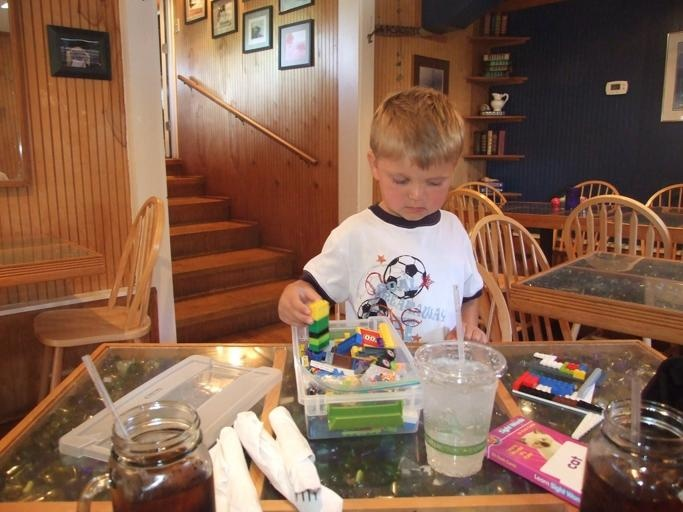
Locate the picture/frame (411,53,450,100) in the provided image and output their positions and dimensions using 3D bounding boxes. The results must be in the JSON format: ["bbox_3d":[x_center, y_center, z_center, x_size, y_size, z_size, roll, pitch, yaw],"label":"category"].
[{"bbox_3d":[0.804,-1.575,4.460,0.430,0.316,0.017,-6,9,-36],"label":"picture/frame"}]

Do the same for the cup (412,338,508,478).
[{"bbox_3d":[0.188,0.260,0.825,0.143,0.187,0.153,2,-11,0],"label":"cup"}]

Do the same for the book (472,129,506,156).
[{"bbox_3d":[1.511,-1.177,5.195,0.308,0.325,0.174,0,2,-4],"label":"book"}]

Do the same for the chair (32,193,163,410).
[{"bbox_3d":[-1.122,0.251,2.316,0.591,1.014,0.565,0,10,-17],"label":"chair"}]

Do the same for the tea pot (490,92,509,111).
[{"bbox_3d":[1.665,-1.617,5.288,0.180,0.202,0.475,5,17,17],"label":"tea pot"}]

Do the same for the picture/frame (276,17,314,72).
[{"bbox_3d":[-0.358,-1.719,4.049,0.036,0.470,0.465,-4,8,-44],"label":"picture/frame"}]

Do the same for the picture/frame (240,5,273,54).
[{"bbox_3d":[-0.719,-1.964,4.328,0.433,0.439,0.034,8,9,42],"label":"picture/frame"}]

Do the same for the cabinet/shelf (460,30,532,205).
[{"bbox_3d":[1.602,-1.716,5.389,0.681,1.865,0.544,1,7,6],"label":"cabinet/shelf"}]
